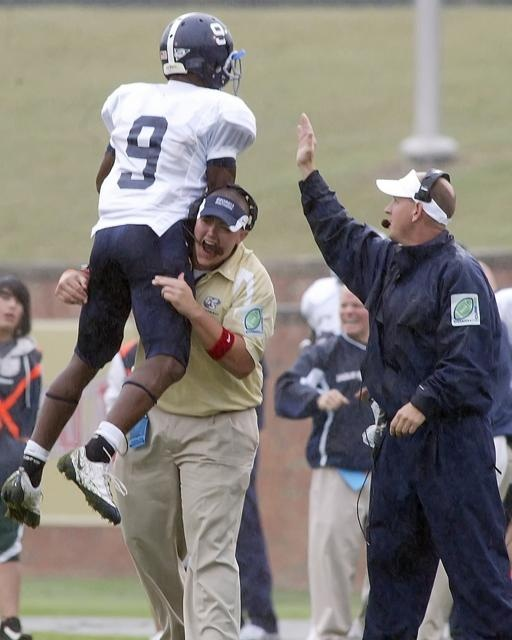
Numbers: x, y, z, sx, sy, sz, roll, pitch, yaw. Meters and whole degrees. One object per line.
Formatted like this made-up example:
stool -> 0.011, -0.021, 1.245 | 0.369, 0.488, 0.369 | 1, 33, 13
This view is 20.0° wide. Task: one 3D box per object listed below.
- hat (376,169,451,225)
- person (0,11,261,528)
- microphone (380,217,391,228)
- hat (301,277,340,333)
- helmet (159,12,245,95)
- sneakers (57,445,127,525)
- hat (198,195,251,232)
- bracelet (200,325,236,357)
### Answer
hat -> 0.642, -0.521, 5.897 | 0.281, 0.154, 0.194 | 33, 7, 12
person -> -0.456, -0.202, 5.628 | 1.039, 1.949, 0.583 | -7, 7, -38
microphone -> 0.527, -0.400, 5.970 | 0.034, 0.018, 0.048 | 21, 19, -22
hat -> 0.368, -0.052, 8.141 | 0.206, 0.267, 0.285 | -12, 51, -1
helmet -> -0.213, -1.053, 5.767 | 0.322, 0.323, 0.252 | -4, 8, -29
sneakers -> -0.622, 0.609, 5.347 | 0.207, 0.275, 0.143 | -4, 6, -14
hat -> -0.132, -0.405, 5.572 | 0.186, 0.149, 0.181 | -2, 6, 0
bracelet -> -0.149, 0.095, 5.548 | 0.050, 0.106, 0.097 | 41, 1, -18
